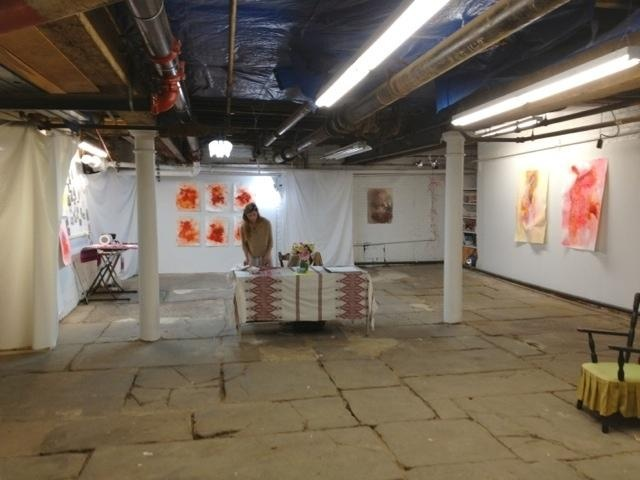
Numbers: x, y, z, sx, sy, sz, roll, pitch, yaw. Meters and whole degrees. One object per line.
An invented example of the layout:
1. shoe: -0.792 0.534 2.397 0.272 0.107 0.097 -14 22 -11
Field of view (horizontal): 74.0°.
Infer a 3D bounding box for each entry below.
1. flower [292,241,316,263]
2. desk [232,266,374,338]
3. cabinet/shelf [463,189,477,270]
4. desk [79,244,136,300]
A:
1. flower: -0.311 0.271 7.440 0.415 0.478 0.860 0 9 -3
2. desk: -0.365 0.930 6.858 1.747 0.685 1.142 -1 2 -8
3. cabinet/shelf: 4.806 -0.381 13.689 0.437 2.411 1.643 3 10 17
4. desk: -4.885 0.687 9.865 0.978 0.890 1.079 4 -9 -27
